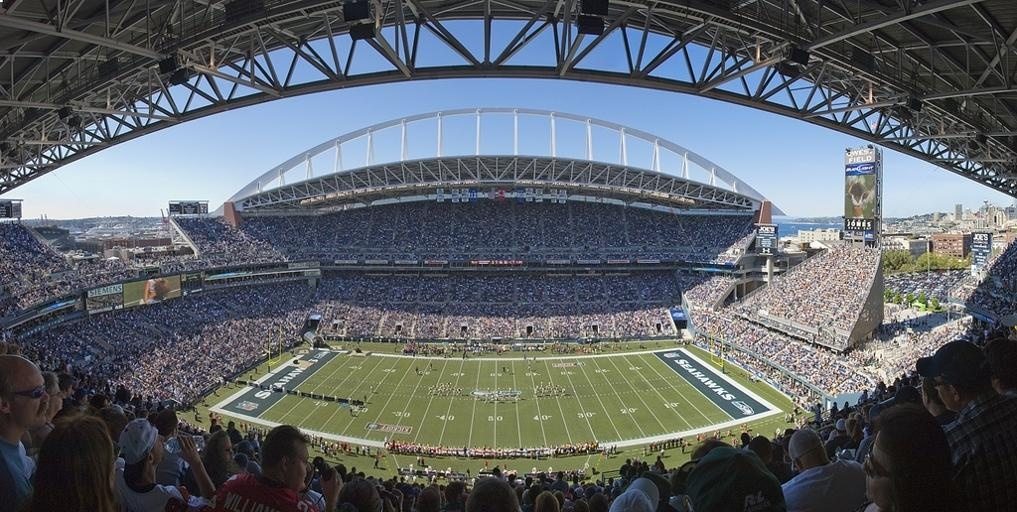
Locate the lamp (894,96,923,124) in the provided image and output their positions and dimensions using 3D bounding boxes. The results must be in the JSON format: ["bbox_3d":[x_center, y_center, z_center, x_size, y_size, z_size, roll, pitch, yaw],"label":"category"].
[{"bbox_3d":[22.218,-8.040,31.815,1.195,1.116,5.388,1,1,34],"label":"lamp"}]

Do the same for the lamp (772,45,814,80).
[{"bbox_3d":[14.244,-9.698,28.515,1.559,1.420,0.859,1,0,-16],"label":"lamp"}]

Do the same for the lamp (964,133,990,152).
[{"bbox_3d":[27.823,-6.832,34.012,1.067,0.783,0.505,-5,13,-8],"label":"lamp"}]

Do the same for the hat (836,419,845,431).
[{"bbox_3d":[16.470,8.403,28.335,0.471,0.532,0.499,-11,28,28],"label":"hat"}]

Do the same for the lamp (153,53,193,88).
[{"bbox_3d":[-16.653,-9.383,28.675,1.443,1.611,0.779,1,0,-27],"label":"lamp"}]

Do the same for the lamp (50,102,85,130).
[{"bbox_3d":[-24.778,-7.981,32.265,1.648,1.188,2.523,12,-8,-37],"label":"lamp"}]
